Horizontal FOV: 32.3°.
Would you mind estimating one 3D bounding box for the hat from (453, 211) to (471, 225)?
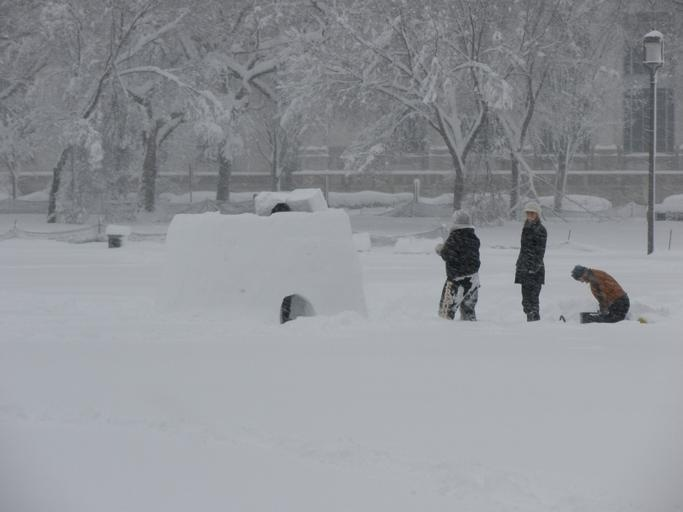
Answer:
[{"bbox_3d":[2.330,-0.766,22.927,0.237,0.313,0.314,2,16,7],"label":"hat"}]

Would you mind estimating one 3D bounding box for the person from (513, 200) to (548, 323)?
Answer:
[{"bbox_3d":[3.731,0.119,23.403,0.581,2.369,1.109,0,5,8],"label":"person"}]

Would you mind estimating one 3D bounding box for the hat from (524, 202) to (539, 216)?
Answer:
[{"bbox_3d":[3.792,-0.930,23.453,0.294,0.290,0.393,0,5,7],"label":"hat"}]

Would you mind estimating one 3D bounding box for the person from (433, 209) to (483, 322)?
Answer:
[{"bbox_3d":[2.243,0.177,22.815,0.814,2.131,0.412,-1,5,3],"label":"person"}]
